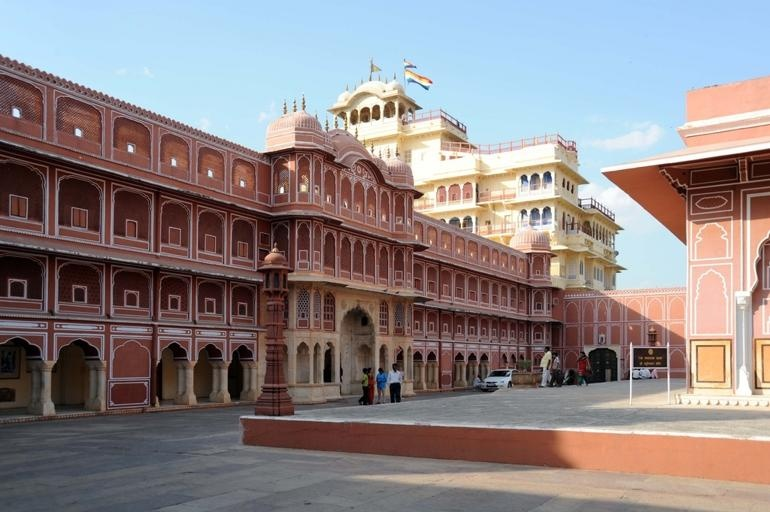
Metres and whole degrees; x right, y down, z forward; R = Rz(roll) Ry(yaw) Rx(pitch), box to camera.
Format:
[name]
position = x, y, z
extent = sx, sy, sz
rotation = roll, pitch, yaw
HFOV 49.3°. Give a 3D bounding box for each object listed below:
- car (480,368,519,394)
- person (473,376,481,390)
[car]
position = 6.697, 7.099, 48.322
extent = 1.008, 0.776, 2.225
rotation = -8, -18, 26
[person]
position = 5.745, 7.750, 51.500
extent = 0.617, 1.080, 0.611
rotation = 0, -10, 15
